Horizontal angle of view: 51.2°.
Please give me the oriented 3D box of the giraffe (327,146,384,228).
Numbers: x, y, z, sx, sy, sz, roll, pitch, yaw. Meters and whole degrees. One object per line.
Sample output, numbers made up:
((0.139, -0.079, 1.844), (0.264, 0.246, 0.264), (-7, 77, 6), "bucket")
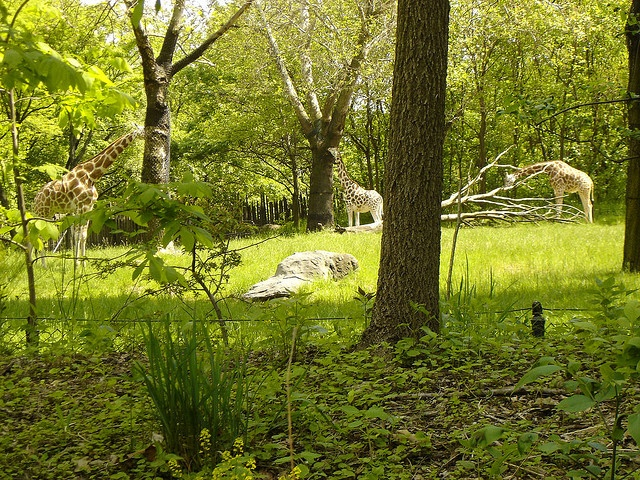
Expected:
((1.166, -1.677, 21.126), (1.537, 2.460, 2.212), (-1, 0, 3), "giraffe")
